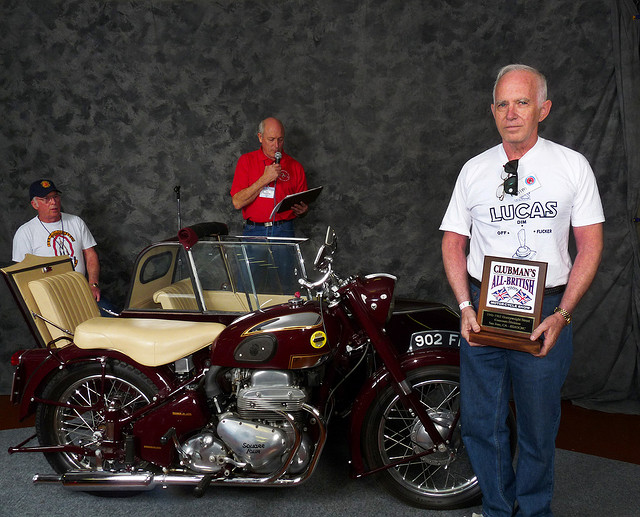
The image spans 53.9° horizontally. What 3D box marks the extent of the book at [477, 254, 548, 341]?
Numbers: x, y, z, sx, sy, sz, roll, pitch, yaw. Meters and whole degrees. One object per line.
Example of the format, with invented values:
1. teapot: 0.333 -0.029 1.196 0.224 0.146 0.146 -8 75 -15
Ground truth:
1. book: 0.774 0.163 2.529 0.310 0.397 0.045 9 3 19

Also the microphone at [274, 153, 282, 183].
1. microphone: -0.276 -0.590 4.076 0.063 0.199 0.048 -1 0 2

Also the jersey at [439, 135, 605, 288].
1. jersey: 0.836 -0.188 2.644 0.643 0.596 0.222 -1 14 10

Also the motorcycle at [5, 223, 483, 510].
1. motorcycle: -0.293 0.577 3.627 2.827 1.469 1.072 -2 8 5

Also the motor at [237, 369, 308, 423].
1. motor: -0.211 0.628 3.072 0.362 0.227 0.332 4 5 16

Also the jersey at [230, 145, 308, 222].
1. jersey: -0.345 -0.507 4.247 0.636 0.541 0.312 1 -2 -5

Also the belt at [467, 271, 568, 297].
1. belt: 0.851 0.092 2.667 0.250 0.078 0.293 -3 10 -44
